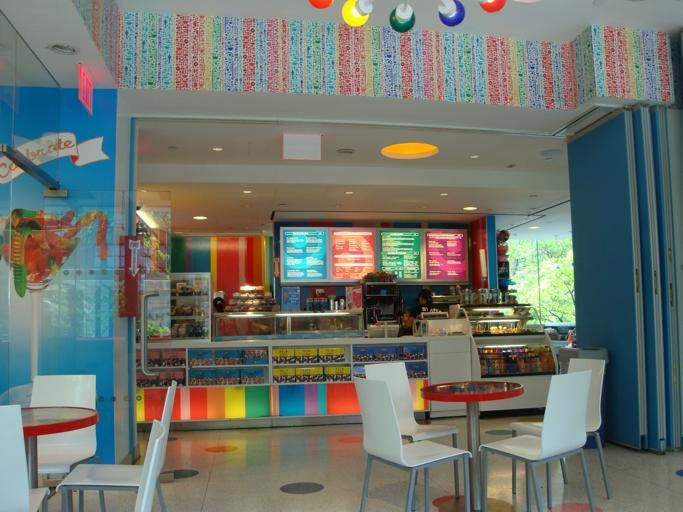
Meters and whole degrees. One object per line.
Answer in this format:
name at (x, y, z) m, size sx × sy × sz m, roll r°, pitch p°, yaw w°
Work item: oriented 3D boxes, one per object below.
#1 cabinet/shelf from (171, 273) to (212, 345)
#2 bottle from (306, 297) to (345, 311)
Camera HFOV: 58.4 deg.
cabinet/shelf at (-1.949, 0.707, 8.159) m, size 0.634 × 0.892 × 0.344 m, roll -1°, pitch 0°, yaw 19°
bottle at (-0.332, 0.833, 10.732) m, size 0.860 × 0.199 × 0.279 m, roll -2°, pitch -8°, yaw 20°
